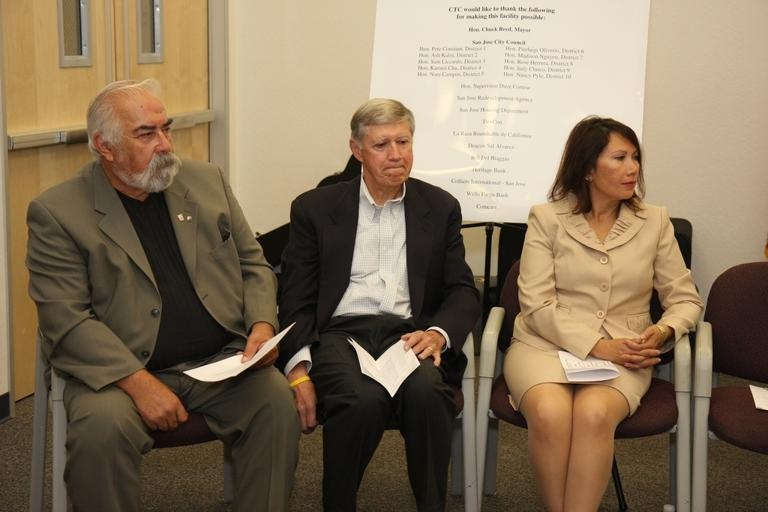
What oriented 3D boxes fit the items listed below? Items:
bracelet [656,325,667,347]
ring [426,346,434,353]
[{"bbox_3d":[1.252,0.361,2.761,0.067,0.055,0.072,2,10,28],"label":"bracelet"},{"bbox_3d":[0.204,0.410,2.696,0.021,0.023,0.021,-1,-17,0],"label":"ring"}]
